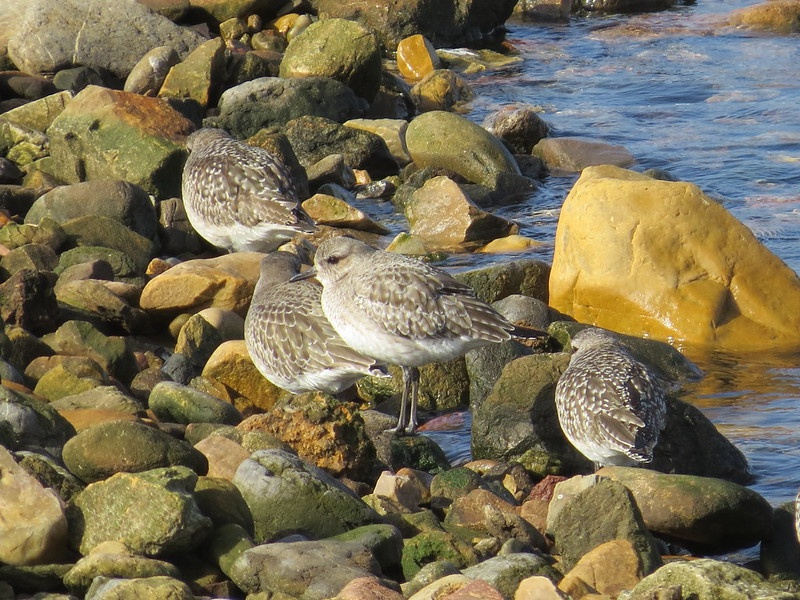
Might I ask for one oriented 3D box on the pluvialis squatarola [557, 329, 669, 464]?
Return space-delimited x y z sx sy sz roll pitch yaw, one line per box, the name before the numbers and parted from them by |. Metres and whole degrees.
pluvialis squatarola | 2.046 0.903 15.143 0.753 0.922 1.349 -24 28 14
